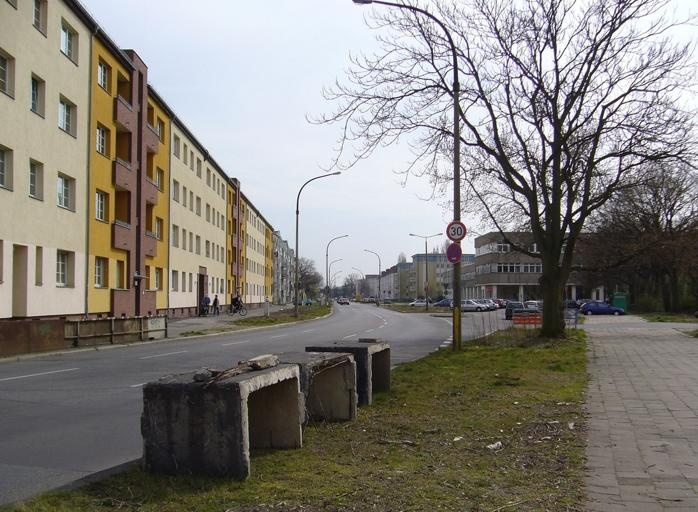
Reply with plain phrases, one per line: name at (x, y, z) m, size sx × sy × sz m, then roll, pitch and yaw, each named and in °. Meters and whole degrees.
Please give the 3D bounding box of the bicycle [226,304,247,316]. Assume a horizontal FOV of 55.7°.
bicycle at (-8.526, 4.236, 50.878) m, size 1.215 × 0.942 × 0.706 m, roll 1°, pitch 0°, yaw 4°

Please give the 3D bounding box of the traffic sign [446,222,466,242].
traffic sign at (2.970, -0.660, 18.174) m, size 0.513 × 0.553 × 0.309 m, roll 0°, pitch 3°, yaw 34°
